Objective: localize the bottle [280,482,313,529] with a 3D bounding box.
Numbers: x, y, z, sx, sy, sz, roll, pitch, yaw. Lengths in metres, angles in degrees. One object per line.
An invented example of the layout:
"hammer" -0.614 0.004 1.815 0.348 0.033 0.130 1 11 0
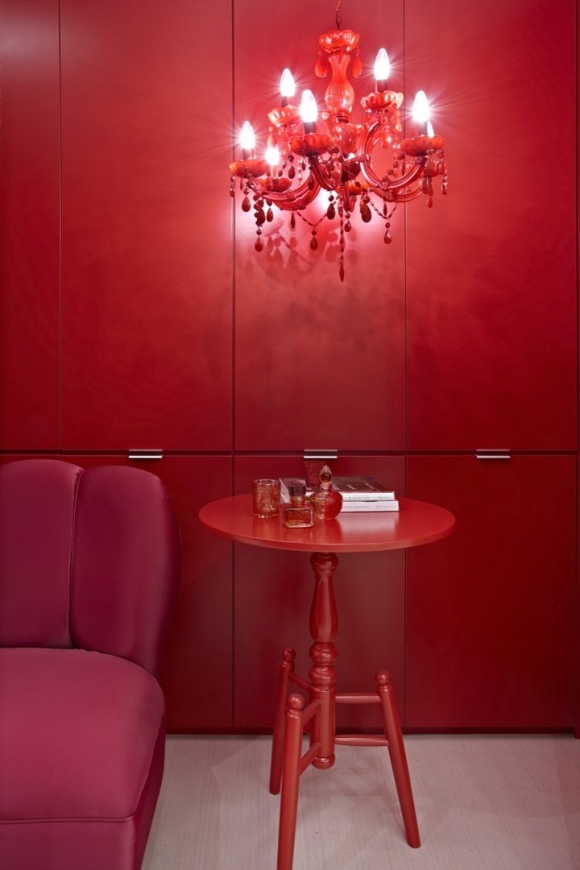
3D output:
"bottle" 0.012 0.141 1.729 0.068 0.190 0.088 -1 3 -2

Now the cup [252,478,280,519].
"cup" -0.057 0.142 1.775 0.054 0.098 0.075 1 4 0

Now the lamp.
"lamp" 0.125 -0.737 1.852 0.489 0.928 0.600 -4 -3 3
